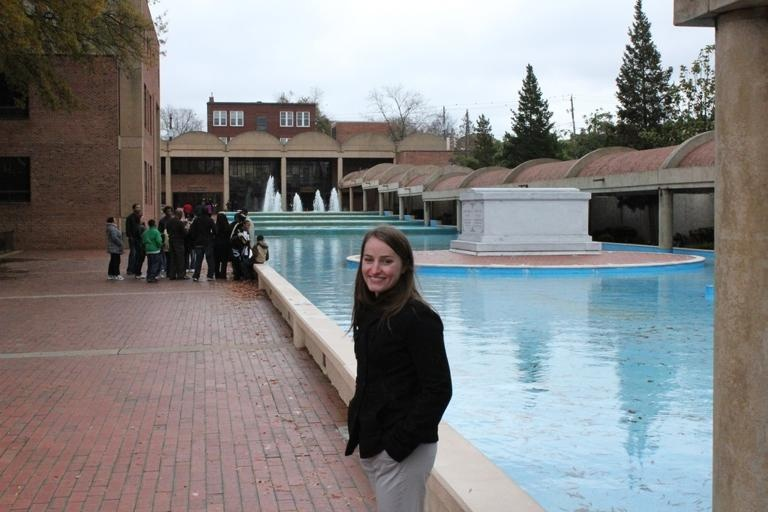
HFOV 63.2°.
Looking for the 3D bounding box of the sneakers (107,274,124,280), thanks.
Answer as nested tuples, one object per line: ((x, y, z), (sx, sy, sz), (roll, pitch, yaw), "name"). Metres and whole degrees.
((-8.756, 0.691, 20.397), (0.547, 0.225, 0.197), (-1, 2, 16), "sneakers")
